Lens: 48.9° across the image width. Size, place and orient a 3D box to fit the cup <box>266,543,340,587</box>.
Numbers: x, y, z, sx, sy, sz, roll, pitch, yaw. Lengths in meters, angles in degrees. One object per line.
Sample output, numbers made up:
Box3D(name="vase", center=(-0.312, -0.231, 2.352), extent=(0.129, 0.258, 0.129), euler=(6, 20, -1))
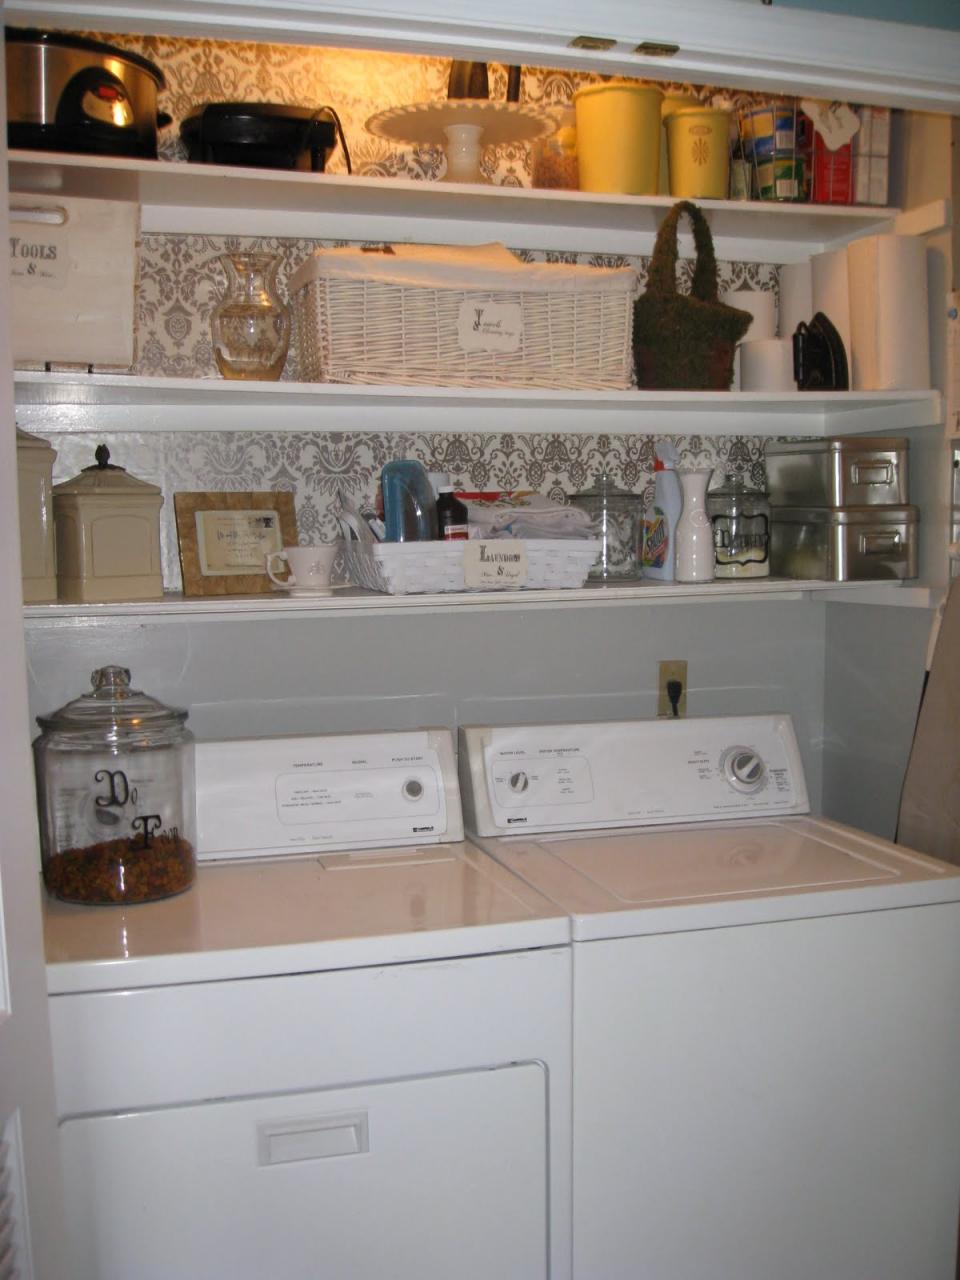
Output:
Box3D(name="cup", center=(-0.302, -0.126, 1.777), extent=(0.102, 0.068, 0.069), euler=(-3, 6, -25))

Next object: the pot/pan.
Box3D(name="pot/pan", center=(-0.563, -0.750, 1.488), extent=(0.188, 0.079, 0.206), euler=(3, 10, 7))

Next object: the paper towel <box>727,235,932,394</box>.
Box3D(name="paper towel", center=(0.656, -0.590, 1.945), extent=(0.139, 0.316, 0.354), euler=(-3, 6, -25))

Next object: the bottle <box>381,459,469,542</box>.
Box3D(name="bottle", center=(-0.106, -0.223, 1.728), extent=(0.162, 0.168, 0.097), euler=(-6, 13, -18))

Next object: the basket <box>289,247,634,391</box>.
Box3D(name="basket", center=(-0.003, -0.502, 1.697), extent=(0.448, 0.203, 0.272), euler=(-3, 13, -13))

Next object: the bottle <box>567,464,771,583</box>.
Box3D(name="bottle", center=(0.354, -0.216, 2.165), extent=(0.432, 0.232, 0.291), euler=(0, 3, -16))
